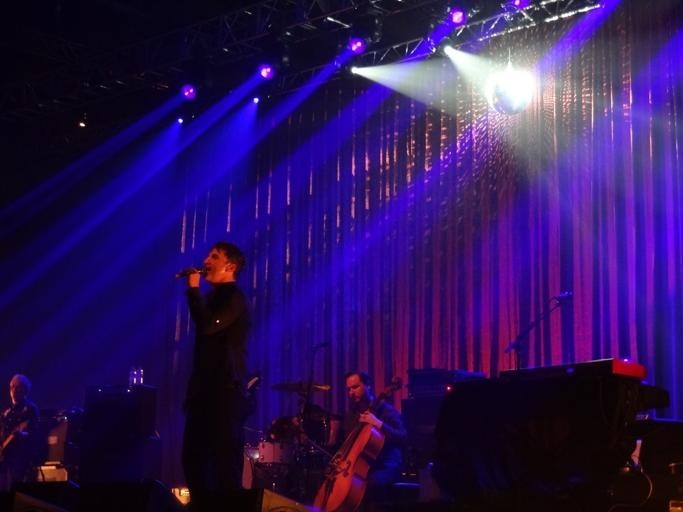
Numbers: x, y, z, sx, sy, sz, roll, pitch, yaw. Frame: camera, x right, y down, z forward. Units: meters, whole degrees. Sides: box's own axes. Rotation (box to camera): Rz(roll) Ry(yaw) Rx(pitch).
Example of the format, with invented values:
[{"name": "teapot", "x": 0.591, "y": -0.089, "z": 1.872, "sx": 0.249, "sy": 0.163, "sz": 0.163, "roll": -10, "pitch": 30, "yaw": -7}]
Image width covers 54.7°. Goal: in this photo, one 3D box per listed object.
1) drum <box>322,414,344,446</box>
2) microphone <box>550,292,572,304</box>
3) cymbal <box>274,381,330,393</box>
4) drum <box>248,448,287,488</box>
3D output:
[{"name": "drum", "x": -0.093, "y": 2.103, "z": 8.086, "sx": 0.261, "sy": 0.546, "sz": 0.340, "roll": 3, "pitch": -8, "yaw": -1}, {"name": "microphone", "x": 2.605, "y": 0.501, "z": 7.765, "sx": 0.128, "sy": 0.057, "sz": 0.137, "roll": -9, "pitch": -19, "yaw": -13}, {"name": "cymbal", "x": -0.481, "y": 1.674, "z": 8.439, "sx": 0.354, "sy": 0.081, "sz": 0.376, "roll": -11, "pitch": -25, "yaw": 27}, {"name": "drum", "x": -0.928, "y": 2.591, "z": 8.146, "sx": 0.489, "sy": 0.535, "sz": 0.440, "roll": -4, "pitch": -12, "yaw": 19}]
